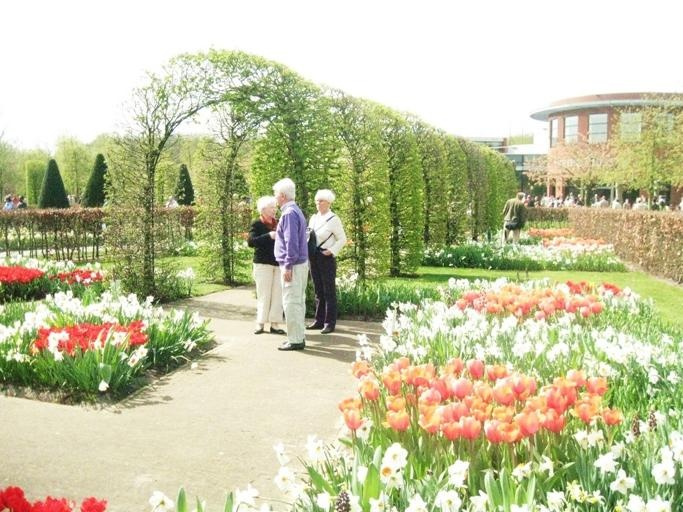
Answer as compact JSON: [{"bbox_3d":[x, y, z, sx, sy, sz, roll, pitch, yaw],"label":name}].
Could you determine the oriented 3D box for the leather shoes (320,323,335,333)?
[{"bbox_3d":[-0.193,1.025,9.993,0.177,0.131,0.260,3,8,4],"label":"leather shoes"}]

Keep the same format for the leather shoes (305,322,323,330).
[{"bbox_3d":[-0.407,1.032,10.317,0.266,0.128,0.103,3,-1,2],"label":"leather shoes"}]

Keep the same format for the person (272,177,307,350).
[{"bbox_3d":[-0.646,0.116,8.972,0.413,2.137,0.435,1,8,-6],"label":"person"}]

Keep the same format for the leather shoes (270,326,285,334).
[{"bbox_3d":[-0.905,1.062,9.931,0.083,0.094,0.232,1,-5,-28],"label":"leather shoes"}]

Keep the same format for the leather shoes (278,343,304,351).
[{"bbox_3d":[-0.654,1.140,8.989,0.326,0.158,0.118,5,-2,-7],"label":"leather shoes"}]

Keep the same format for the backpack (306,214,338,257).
[{"bbox_3d":[-0.269,-0.259,9.828,0.518,0.580,0.335,2,0,36],"label":"backpack"}]

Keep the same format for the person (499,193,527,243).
[{"bbox_3d":[5.524,-1.174,22.507,0.682,1.998,0.590,19,31,28],"label":"person"}]
